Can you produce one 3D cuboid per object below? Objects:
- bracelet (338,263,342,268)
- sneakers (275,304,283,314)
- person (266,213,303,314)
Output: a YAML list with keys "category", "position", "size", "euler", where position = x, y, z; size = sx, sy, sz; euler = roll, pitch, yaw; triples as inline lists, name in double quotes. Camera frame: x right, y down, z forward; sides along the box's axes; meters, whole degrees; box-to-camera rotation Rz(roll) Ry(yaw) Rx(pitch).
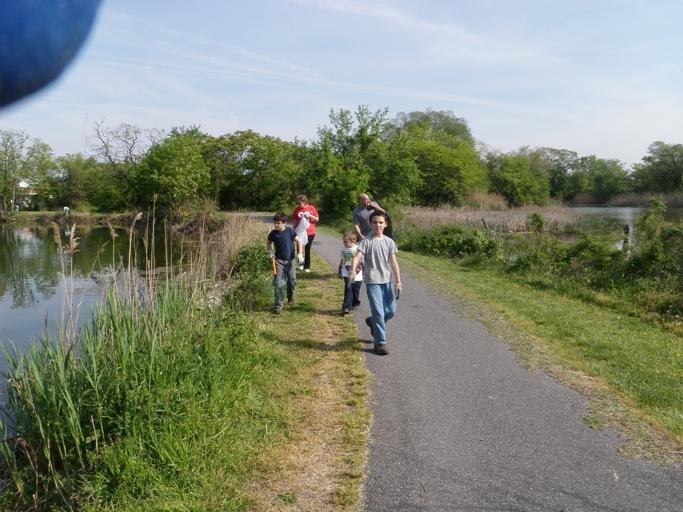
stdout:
- category: "bracelet"
  position: [-0.045, 0.216, 13.137]
  size: [0.087, 0.136, 0.093]
  euler: [4, 12, 11]
- category: "sneakers"
  position: [-1.305, 1.067, 11.760]
  size: [0.145, 0.191, 0.461]
  euler: [-1, -4, -1]
- category: "person"
  position: [-1.234, 0.114, 12.197]
  size: [0.611, 2.097, 1.482]
  euler: [1, 14, 2]
